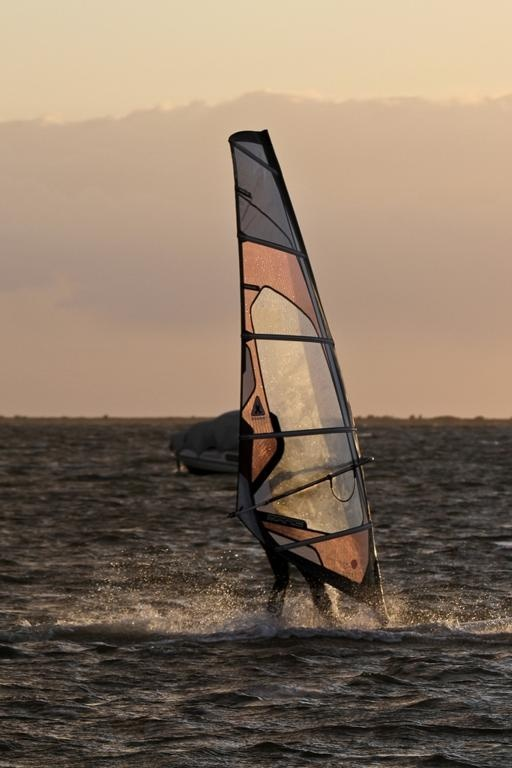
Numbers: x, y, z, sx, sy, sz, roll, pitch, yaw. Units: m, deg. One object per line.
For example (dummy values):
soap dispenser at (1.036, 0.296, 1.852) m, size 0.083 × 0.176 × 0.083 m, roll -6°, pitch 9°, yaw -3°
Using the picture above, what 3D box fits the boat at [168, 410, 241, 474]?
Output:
boat at (-1.485, 1.794, 37.151) m, size 1.971 × 1.059 × 3.353 m, roll 5°, pitch 2°, yaw -10°
